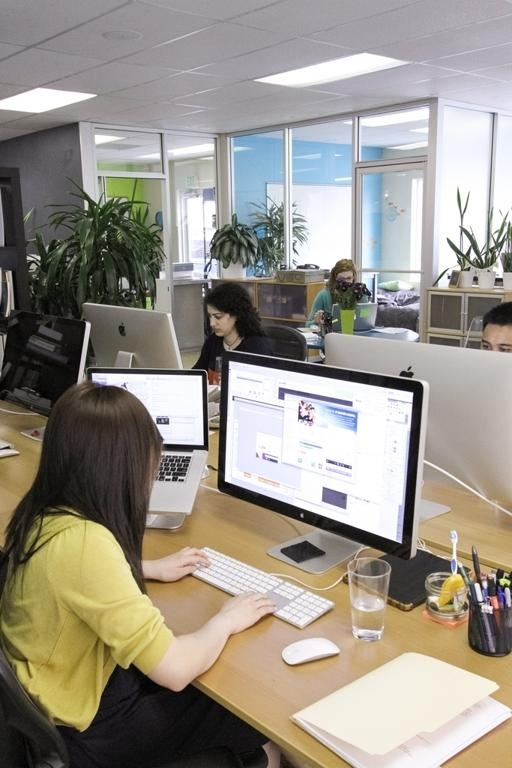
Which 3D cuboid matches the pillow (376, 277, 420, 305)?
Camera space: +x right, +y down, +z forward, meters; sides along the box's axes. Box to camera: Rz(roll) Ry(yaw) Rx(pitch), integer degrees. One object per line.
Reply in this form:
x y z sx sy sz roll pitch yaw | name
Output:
1.608 -1.029 6.265 0.281 0.099 0.328 12 -7 -8 | pillow

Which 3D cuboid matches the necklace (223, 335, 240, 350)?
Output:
-0.127 -0.226 2.926 0.082 0.043 0.114 -3 33 -1 | necklace

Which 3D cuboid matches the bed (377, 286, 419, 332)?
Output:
1.637 -0.873 6.521 0.501 0.529 0.152 2 15 29 | bed

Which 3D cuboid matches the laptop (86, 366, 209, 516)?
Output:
-0.302 0.135 1.594 0.379 0.290 0.299 0 15 -13 | laptop

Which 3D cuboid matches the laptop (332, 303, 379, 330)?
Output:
0.799 -0.543 4.545 0.399 0.264 0.287 -3 14 -15 | laptop

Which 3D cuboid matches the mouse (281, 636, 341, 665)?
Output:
0.086 0.427 0.910 0.071 0.018 0.040 -3 15 -18 | mouse

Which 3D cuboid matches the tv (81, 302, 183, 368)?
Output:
-0.562 -0.153 2.482 0.528 0.373 0.133 11 21 31 | tv

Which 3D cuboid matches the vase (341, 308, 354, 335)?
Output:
0.495 -0.341 3.049 0.064 0.134 0.181 1 5 6 | vase

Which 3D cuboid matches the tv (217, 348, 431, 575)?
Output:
0.124 0.158 1.195 0.138 0.409 0.539 -12 15 -43 | tv
